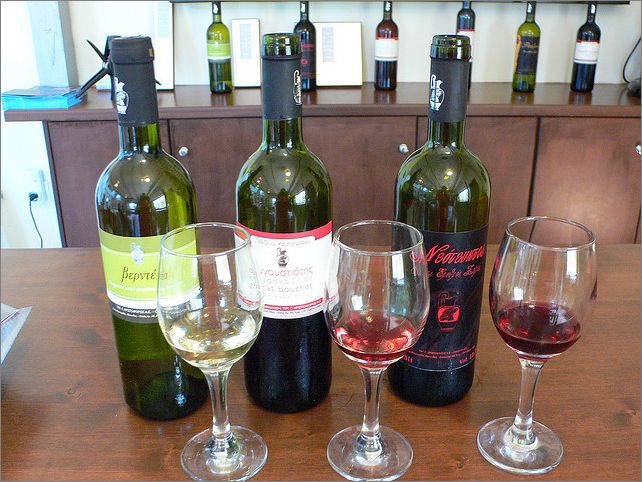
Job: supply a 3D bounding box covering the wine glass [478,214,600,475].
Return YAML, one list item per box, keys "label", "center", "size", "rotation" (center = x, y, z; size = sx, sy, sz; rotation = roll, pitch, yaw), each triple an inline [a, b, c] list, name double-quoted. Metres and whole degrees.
- label: "wine glass"
  center: [0.269, 0.116, 0.728]
  size: [0.122, 0.274, 0.201]
  rotation: [6, 23, 16]
